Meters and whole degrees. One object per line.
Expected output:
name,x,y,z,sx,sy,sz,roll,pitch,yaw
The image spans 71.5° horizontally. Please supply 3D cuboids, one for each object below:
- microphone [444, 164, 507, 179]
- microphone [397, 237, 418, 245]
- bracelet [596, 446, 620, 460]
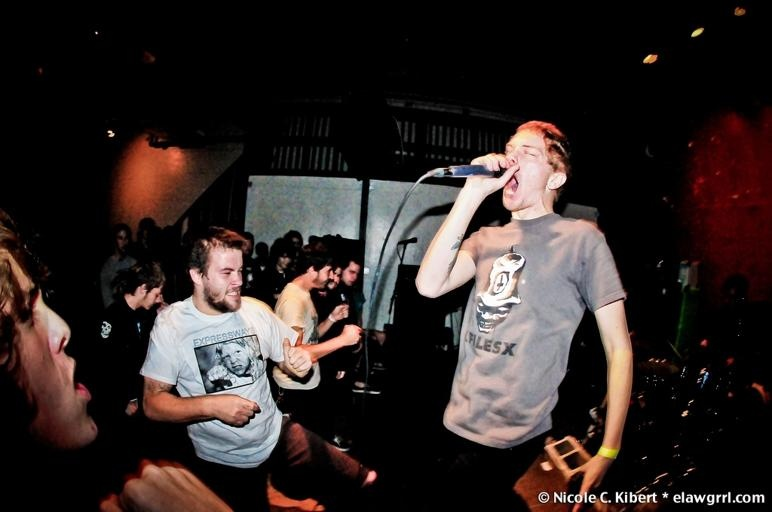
microphone,0.730,-0.673,4.270,0.655,0.134,0.127,-1,6,-23
microphone,0.293,-0.221,7.043,0.230,0.082,0.147,4,-6,-2
bracelet,1.672,1.471,4.035,0.117,0.068,0.117,12,-4,-33
